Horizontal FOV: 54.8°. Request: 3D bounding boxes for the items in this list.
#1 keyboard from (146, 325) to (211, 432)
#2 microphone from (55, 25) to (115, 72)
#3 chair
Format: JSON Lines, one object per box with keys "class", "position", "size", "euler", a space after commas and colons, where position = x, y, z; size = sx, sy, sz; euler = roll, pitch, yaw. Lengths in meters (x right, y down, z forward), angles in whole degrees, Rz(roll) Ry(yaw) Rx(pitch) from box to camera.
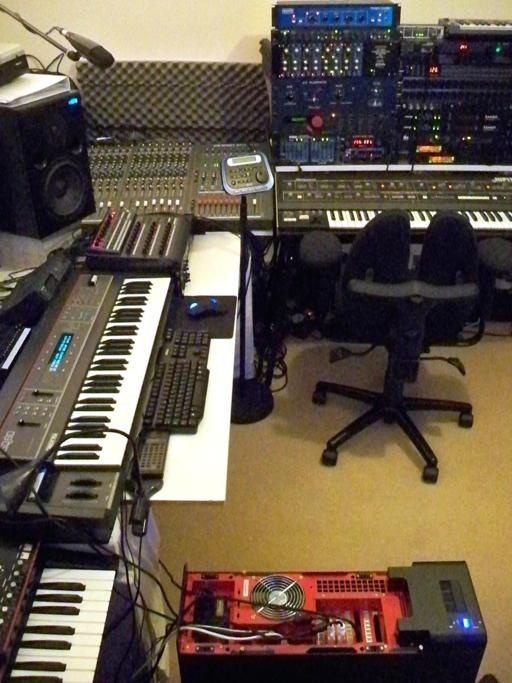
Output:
{"class": "keyboard", "position": [-0.235, 0.167, 1.602], "size": [0.176, 0.086, 0.499], "euler": [-1, 49, 2]}
{"class": "microphone", "position": [-0.557, -0.967, 1.632], "size": [0.161, 0.109, 0.075], "euler": [9, 26, 24]}
{"class": "chair", "position": [0.772, 0.064, 2.564], "size": [0.849, 1.377, 0.954], "euler": [5, 59, 5]}
